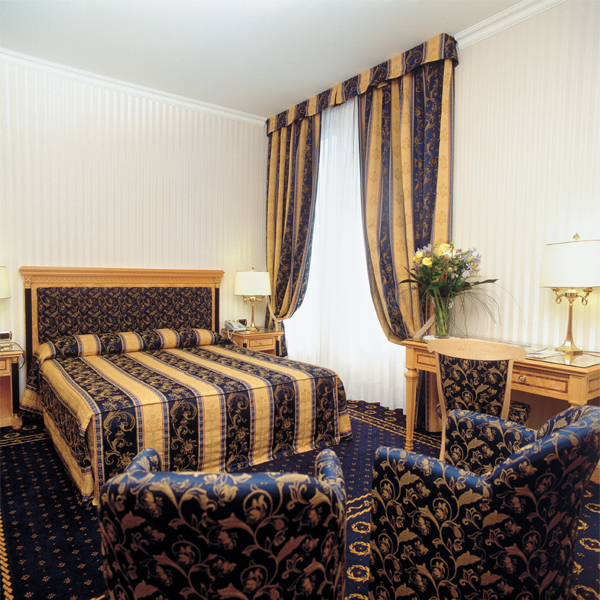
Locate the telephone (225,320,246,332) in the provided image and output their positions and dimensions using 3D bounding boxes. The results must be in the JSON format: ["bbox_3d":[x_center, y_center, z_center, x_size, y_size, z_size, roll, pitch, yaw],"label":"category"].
[{"bbox_3d":[-0.725,0.289,5.603,0.123,0.082,0.180,-2,3,-30],"label":"telephone"}]

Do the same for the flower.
[{"bbox_3d":[1.124,-0.118,3.935,0.612,0.717,0.679,1,0,-2],"label":"flower"}]

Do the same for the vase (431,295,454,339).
[{"bbox_3d":[1.083,0.097,3.879,0.165,0.349,0.177,-17,23,-27],"label":"vase"}]

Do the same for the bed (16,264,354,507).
[{"bbox_3d":[-1.108,0.591,3.962,1.749,1.285,1.790,-2,4,-34],"label":"bed"}]
